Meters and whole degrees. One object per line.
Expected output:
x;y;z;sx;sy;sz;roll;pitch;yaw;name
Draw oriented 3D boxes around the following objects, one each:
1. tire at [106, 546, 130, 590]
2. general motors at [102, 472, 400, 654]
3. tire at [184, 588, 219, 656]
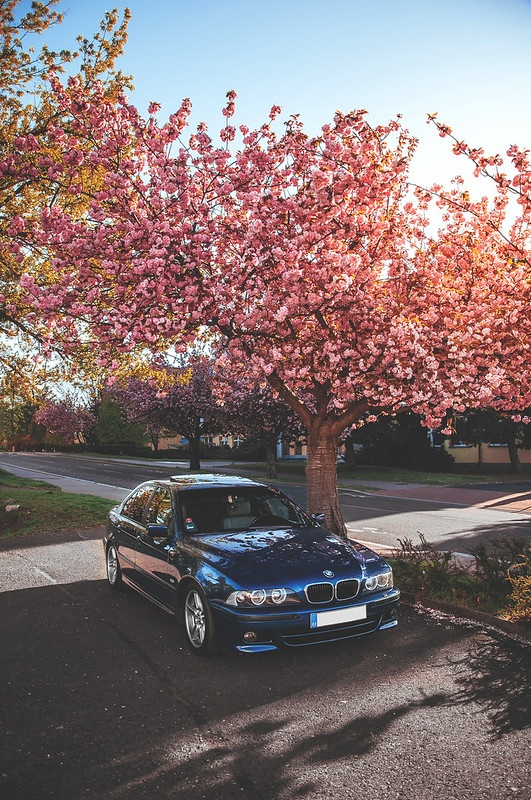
-1.678;1.902;7.360;0.211;0.596;0.614;4;-10;-26;tire
-0.418;1.359;5.988;1.268;0.860;2.787;4;-4;-27;general motors
-0.497;1.747;5.112;0.166;0.471;0.479;4;-30;-22;tire
